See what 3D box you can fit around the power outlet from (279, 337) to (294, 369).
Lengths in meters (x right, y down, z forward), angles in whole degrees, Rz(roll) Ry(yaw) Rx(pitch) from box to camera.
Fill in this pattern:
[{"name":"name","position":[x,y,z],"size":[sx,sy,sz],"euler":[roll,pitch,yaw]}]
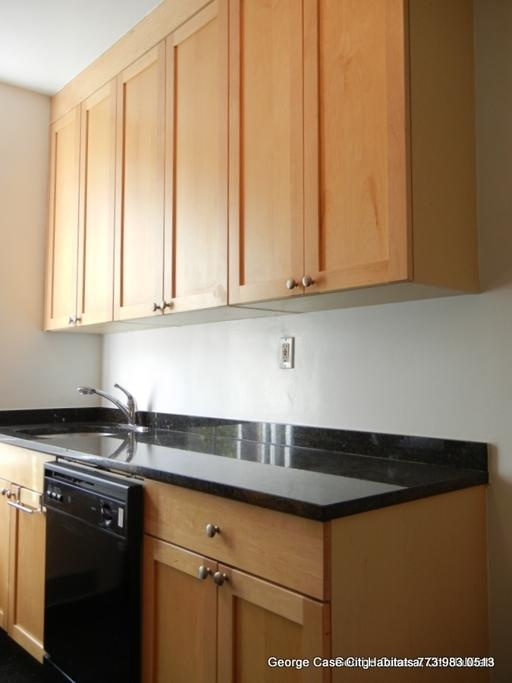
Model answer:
[{"name":"power outlet","position":[0.112,0.040,1.867],"size":[0.012,0.110,0.071],"euler":[5,-9,-35]}]
